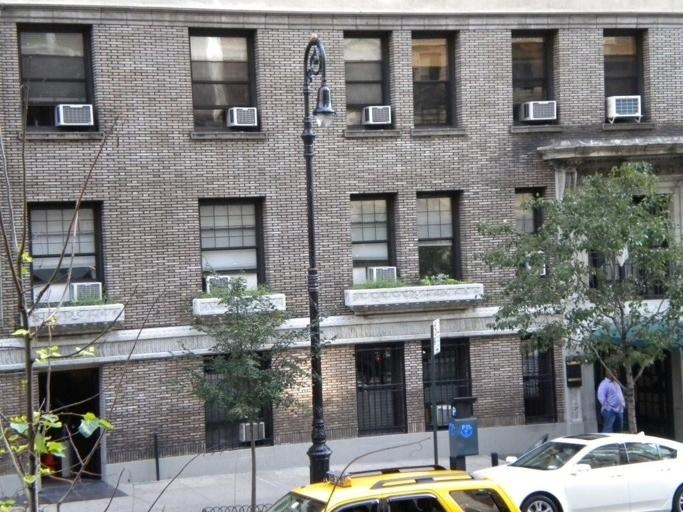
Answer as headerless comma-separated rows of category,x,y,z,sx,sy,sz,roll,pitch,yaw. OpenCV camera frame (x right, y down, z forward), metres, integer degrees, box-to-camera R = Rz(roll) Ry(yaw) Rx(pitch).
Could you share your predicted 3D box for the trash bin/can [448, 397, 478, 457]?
trash bin/can,3.133,4.423,44.667,0.802,1.483,0.625,-4,-4,-2
